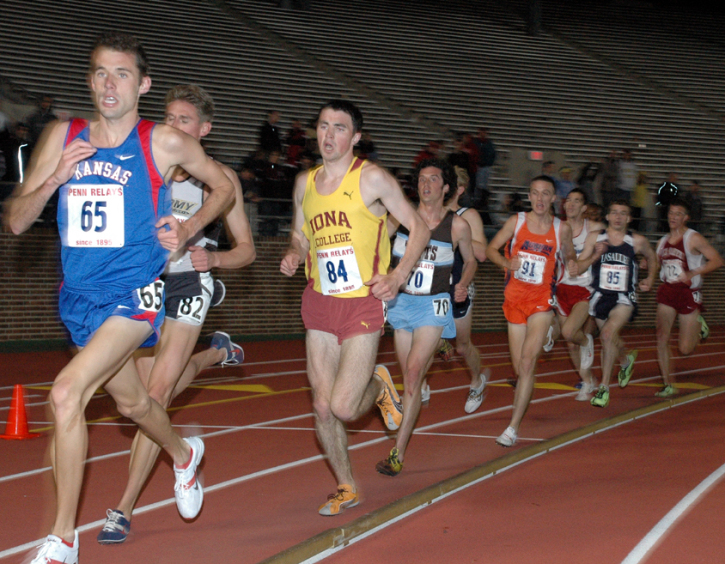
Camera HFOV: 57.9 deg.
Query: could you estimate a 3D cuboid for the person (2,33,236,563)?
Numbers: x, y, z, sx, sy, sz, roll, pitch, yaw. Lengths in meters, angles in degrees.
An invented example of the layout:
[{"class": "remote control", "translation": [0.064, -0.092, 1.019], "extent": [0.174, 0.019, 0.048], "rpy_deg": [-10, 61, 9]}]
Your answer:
[{"class": "person", "translation": [-1.243, 0.134, 3.121], "extent": [0.759, 2.613, 1.145], "rpy_deg": [8, 10, 23]}]
